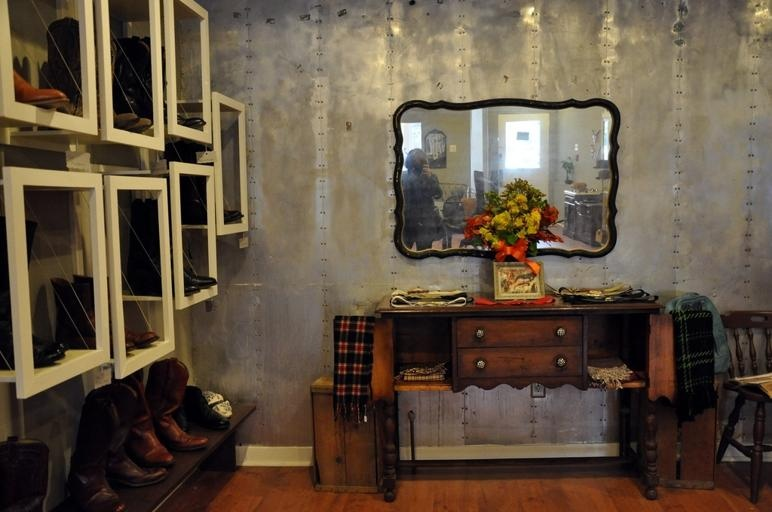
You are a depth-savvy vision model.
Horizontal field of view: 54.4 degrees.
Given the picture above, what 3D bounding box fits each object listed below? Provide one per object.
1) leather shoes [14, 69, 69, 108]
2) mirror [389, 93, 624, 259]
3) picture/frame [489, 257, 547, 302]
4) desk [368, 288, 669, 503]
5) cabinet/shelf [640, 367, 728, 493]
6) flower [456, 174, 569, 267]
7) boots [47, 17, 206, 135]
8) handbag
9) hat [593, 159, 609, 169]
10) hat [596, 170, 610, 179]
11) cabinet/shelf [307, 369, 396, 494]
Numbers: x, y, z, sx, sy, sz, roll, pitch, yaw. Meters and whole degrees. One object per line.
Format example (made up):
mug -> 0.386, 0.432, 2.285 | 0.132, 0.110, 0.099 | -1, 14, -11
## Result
leather shoes -> -1.902, -0.921, 4.061 | 0.333, 0.192, 0.112 | 0, 20, 12
mirror -> 0.972, -0.642, 5.630 | 1.234, 0.915, 0.049 | 0, 1, 3
picture/frame -> 0.966, 0.173, 5.470 | 0.321, 0.268, 0.024 | 0, -2, 0
desk -> 0.985, 1.041, 5.668 | 2.063, 1.394, 0.744 | -1, 3, 5
cabinet/shelf -> 2.216, 1.352, 6.008 | 0.694, 1.244, 0.629 | 0, 3, 9
flower -> 0.908, -0.243, 5.617 | 0.664, 0.637, 0.649 | -2, 1, -36
boots -> -1.605, -1.106, 4.589 | 0.698, 0.652, 0.693 | -2, -1, 32
handbag -> 2.299, 0.587, 5.585 | 0.463, 0.599, 0.179 | -2, -3, -23
hat -> 1.621, -0.688, 5.641 | 0.113, 0.078, 0.062 | 1, 1, 3
hat -> 1.637, -0.611, 5.646 | 0.074, 0.061, 0.069 | -1, 3, 27
cabinet/shelf -> -0.172, 1.348, 5.732 | 0.667, 0.989, 0.706 | 0, 1, 2
